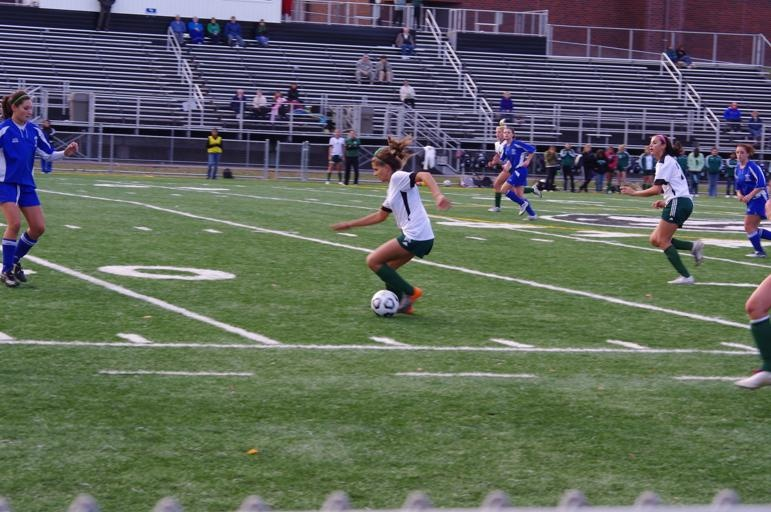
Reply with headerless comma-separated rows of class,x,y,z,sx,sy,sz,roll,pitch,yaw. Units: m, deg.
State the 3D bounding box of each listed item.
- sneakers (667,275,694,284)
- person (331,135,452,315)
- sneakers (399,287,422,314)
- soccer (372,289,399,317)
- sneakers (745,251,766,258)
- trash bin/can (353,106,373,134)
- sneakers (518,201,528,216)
sneakers,3.686,0.286,12.169,0.315,0.104,0.318,6,11,13
person,0.198,-0.290,9.957,1.059,1.848,0.650,18,19,37
sneakers,0.233,0.460,10.075,0.226,0.113,0.371,12,-30,-6
soccer,-0.011,0.482,9.927,0.403,0.255,0.301,0,-12,-4
sneakers,5.551,-0.034,14.747,0.130,0.094,0.327,-8,11,-32
trash bin/can,-0.761,-4.573,32.489,0.646,0.969,0.584,5,15,-4
sneakers,2.787,-0.996,19.754,0.201,0.102,0.360,16,-11,13
